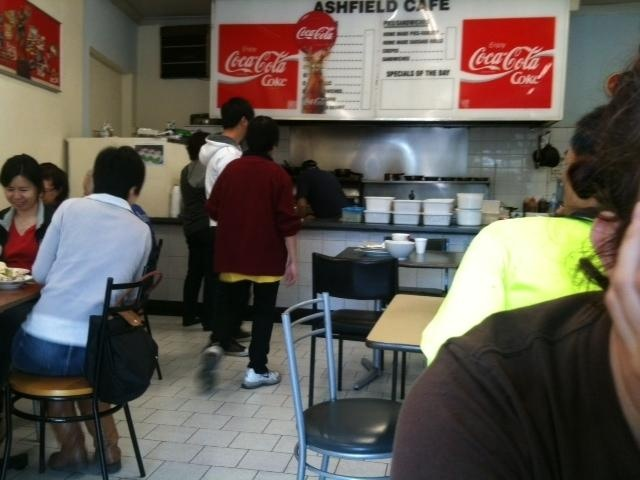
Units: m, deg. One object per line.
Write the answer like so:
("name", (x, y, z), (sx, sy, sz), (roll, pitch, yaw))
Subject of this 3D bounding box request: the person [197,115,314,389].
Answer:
("person", (-0.449, 0.048, 3.313), (0.573, 1.551, 0.647), (0, 7, -13))

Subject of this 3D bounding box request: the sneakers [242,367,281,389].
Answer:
("sneakers", (-0.338, 0.804, 3.204), (0.252, 0.110, 0.093), (-4, 5, -37))

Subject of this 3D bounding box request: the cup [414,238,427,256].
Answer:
("cup", (0.602, 0.026, 3.285), (0.096, 0.091, 0.084), (-2, -1, 38))

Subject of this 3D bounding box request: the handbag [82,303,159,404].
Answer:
("handbag", (-0.728, 0.415, 2.023), (0.260, 0.361, 0.155), (-3, 8, -30))

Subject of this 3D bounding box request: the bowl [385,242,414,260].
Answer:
("bowl", (0.465, 0.047, 3.124), (0.118, 0.074, 0.117), (-2, 4, 0))

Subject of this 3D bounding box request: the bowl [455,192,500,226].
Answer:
("bowl", (1.207, -0.230, 4.206), (0.365, 0.251, 0.224), (1, 3, 11))

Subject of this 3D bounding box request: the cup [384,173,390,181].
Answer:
("cup", (0.783, -0.730, 6.313), (0.074, 0.056, 0.073), (0, 0, 0))
